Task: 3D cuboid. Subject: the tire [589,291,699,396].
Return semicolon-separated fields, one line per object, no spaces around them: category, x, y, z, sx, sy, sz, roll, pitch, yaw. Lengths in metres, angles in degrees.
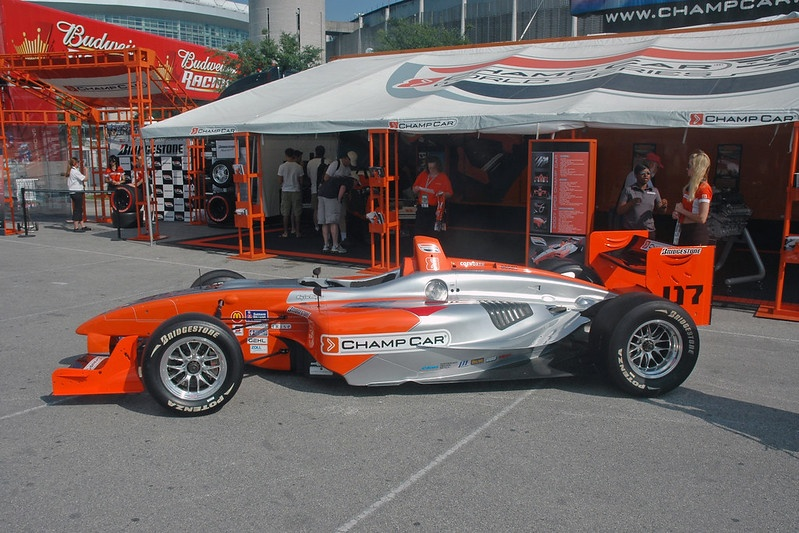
tire;2.605;0.866;6.977;0.931;0.904;0.363;-17;7;-13

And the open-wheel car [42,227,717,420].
open-wheel car;0.220;0.680;7.358;6.957;1.630;2.790;0;3;-8

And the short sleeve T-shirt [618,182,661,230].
short sleeve T-shirt;3.872;-0.930;10.421;0.689;0.812;0.446;1;11;7

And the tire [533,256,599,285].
tire;2.332;0.032;8.908;0.477;0.465;0.142;13;37;0

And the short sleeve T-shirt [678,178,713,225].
short sleeve T-shirt;4.360;-1.017;9.524;0.368;0.432;0.265;8;15;32

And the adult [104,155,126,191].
adult;-7.729;-2.531;17.596;0.486;0.812;1.707;-6;13;-23

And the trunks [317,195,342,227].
trunks;-1.472;-1.180;13.670;0.615;0.596;0.365;8;16;24

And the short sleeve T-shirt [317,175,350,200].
short sleeve T-shirt;-1.349;-1.643;13.447;0.857;0.446;0.675;-3;11;-12

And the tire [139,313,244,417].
tire;-2.127;1.044;6.653;1.066;1.031;0.403;-2;1;-8
